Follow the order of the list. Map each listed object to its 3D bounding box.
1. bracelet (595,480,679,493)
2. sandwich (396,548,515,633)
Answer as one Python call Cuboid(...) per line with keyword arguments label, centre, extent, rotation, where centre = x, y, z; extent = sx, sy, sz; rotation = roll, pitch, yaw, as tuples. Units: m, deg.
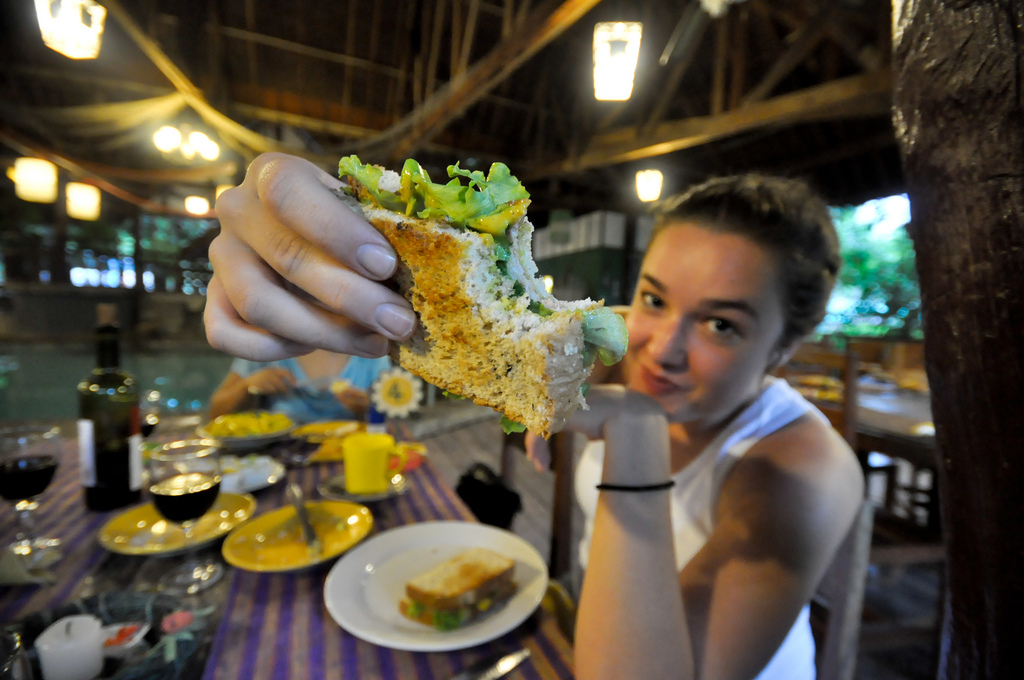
Cuboid(label="bracelet", centre=(0.656, 0.802, 3.860), extent=(0.406, 0.064, 0.061), rotation=(0, 3, 0))
Cuboid(label="sandwich", centre=(-0.257, 1.316, 3.782), extent=(0.465, 0.147, 0.335), rotation=(-15, 23, -35))
